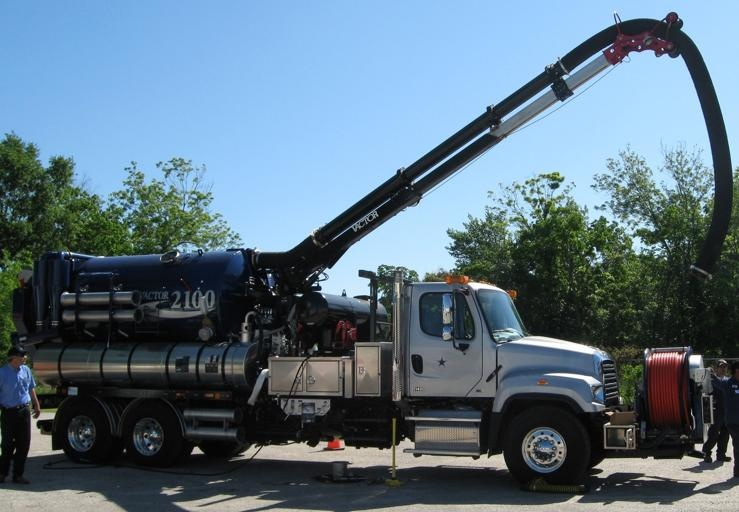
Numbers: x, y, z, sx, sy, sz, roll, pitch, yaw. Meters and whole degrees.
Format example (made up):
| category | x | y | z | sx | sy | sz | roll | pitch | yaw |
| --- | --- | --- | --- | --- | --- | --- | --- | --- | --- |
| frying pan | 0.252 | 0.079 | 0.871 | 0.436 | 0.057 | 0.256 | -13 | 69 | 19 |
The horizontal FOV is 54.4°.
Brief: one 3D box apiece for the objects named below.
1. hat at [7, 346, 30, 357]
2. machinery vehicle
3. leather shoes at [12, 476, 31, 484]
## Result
| category | x | y | z | sx | sy | sz | roll | pitch | yaw |
| --- | --- | --- | --- | --- | --- | --- | --- | --- | --- |
| hat | -7.334 | 2.000 | 14.997 | 0.303 | 0.185 | 0.219 | -4 | 4 | -21 |
| machinery vehicle | -1.112 | 0.801 | 21.561 | 20.296 | 12.569 | 7.799 | -3 | -2 | 19 |
| leather shoes | -7.057 | 4.574 | 14.667 | 0.303 | 0.154 | 0.211 | 0 | -2 | -34 |
